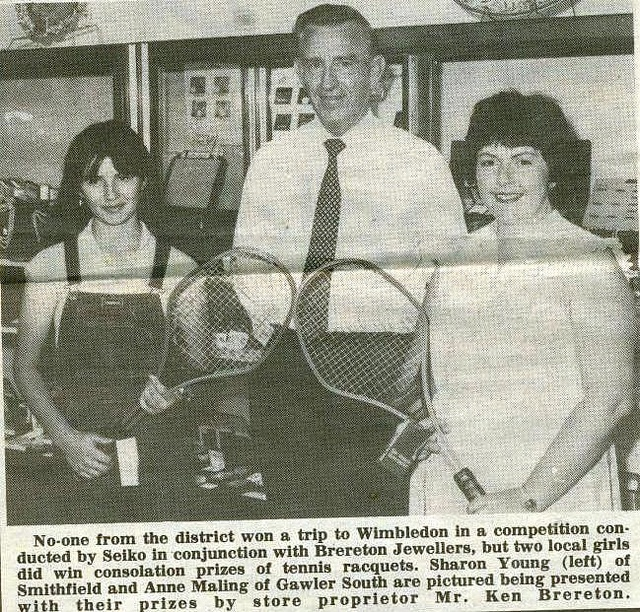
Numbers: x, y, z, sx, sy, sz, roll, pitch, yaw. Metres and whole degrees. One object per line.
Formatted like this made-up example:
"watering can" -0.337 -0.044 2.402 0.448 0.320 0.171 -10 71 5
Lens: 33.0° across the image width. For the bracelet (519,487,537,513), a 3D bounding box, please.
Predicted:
"bracelet" 0.436 0.393 2.219 0.037 0.049 0.012 -8 2 5
